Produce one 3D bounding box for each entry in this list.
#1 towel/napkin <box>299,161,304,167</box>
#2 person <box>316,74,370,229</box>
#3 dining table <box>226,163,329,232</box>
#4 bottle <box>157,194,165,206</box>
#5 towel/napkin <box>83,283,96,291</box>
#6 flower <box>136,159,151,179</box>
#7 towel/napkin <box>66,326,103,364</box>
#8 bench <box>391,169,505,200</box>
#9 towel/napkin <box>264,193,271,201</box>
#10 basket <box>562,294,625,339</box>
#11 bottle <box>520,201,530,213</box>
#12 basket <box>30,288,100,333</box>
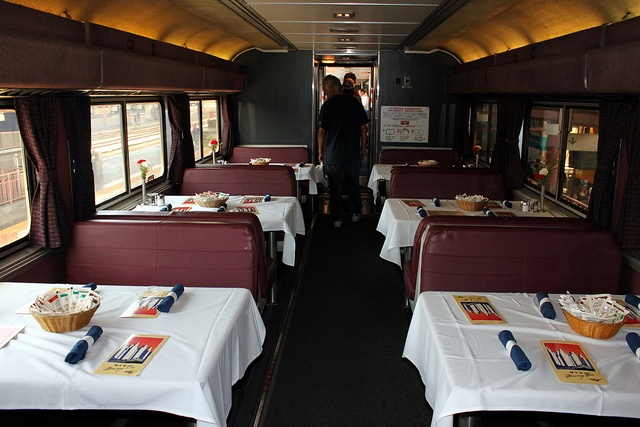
[{"bbox_3d":[-0.402,-1.102,9.112,0.072,0.081,0.196,0,0,5],"label":"towel/napkin"},{"bbox_3d":[0.441,-1.212,8.019,0.929,2.926,0.667,2,17,2],"label":"person"},{"bbox_3d":[-0.697,-0.278,6.607,1.183,0.408,1.160,1,24,6],"label":"dining table"},{"bbox_3d":[-2.185,-0.183,5.555,0.102,0.138,0.295,-5,18,-19],"label":"bottle"},{"bbox_3d":[-1.960,0.629,3.449,0.078,0.038,0.099,1,-10,-14],"label":"towel/napkin"},{"bbox_3d":[-2.423,-0.595,5.554,0.137,0.308,0.364,-7,19,-23],"label":"flower"},{"bbox_3d":[-1.637,0.911,2.829,0.120,0.126,0.310,4,17,8],"label":"towel/napkin"},{"bbox_3d":[2.063,-0.489,6.669,1.439,0.602,0.586,3,26,1],"label":"bench"},{"bbox_3d":[-0.778,-0.243,6.027,0.097,0.041,0.129,4,21,15],"label":"towel/napkin"},{"bbox_3d":[2.070,0.767,3.106,0.357,0.169,0.367,-3,16,5],"label":"basket"},{"bbox_3d":[2.824,-0.089,5.578,0.096,0.125,0.129,0,-11,9],"label":"bottle"},{"bbox_3d":[-1.927,0.795,3.070,0.382,0.167,0.374,8,23,7],"label":"basket"}]
